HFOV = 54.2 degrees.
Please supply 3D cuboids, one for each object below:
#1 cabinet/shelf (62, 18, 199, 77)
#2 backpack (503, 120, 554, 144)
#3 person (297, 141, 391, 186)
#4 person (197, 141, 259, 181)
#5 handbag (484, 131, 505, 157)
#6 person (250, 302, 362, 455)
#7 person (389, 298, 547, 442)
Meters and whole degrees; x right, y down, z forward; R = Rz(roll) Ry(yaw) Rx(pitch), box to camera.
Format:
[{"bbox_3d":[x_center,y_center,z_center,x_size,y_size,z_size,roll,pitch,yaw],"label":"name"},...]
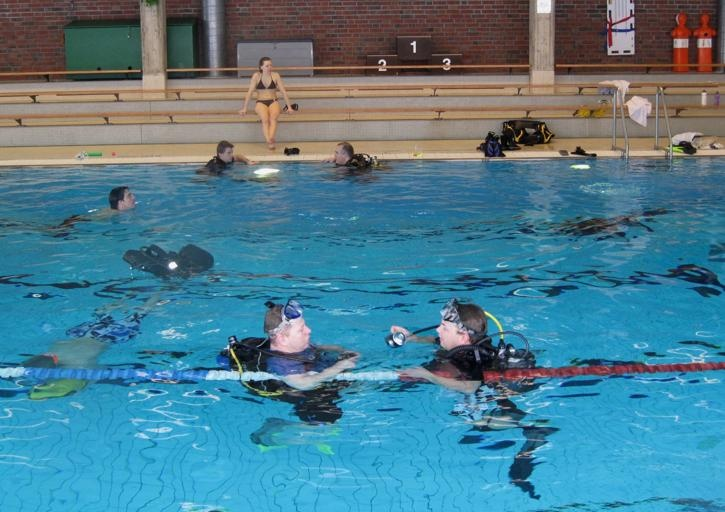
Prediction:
[{"bbox_3d":[-5.719,-5.094,17.393,3.696,1.009,1.143,0,8,-1],"label":"cabinet/shelf"},{"bbox_3d":[3.095,-2.325,13.203,0.913,0.242,0.628,7,14,29],"label":"backpack"},{"bbox_3d":[-0.286,-1.425,10.944,1.381,0.273,0.763,1,15,2],"label":"person"},{"bbox_3d":[-2.170,-1.479,11.035,0.942,0.313,0.790,-2,18,4],"label":"person"},{"bbox_3d":[2.214,-1.882,11.908,0.546,0.172,0.485,1,43,1],"label":"handbag"},{"bbox_3d":[-0.409,0.897,4.994,0.714,1.112,0.559,-27,31,8],"label":"person"},{"bbox_3d":[0.768,0.735,5.047,1.252,0.849,0.611,8,15,43],"label":"person"}]
